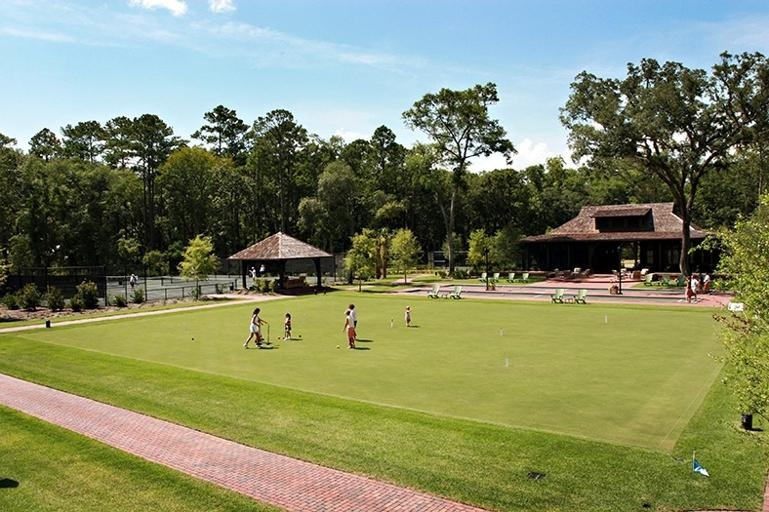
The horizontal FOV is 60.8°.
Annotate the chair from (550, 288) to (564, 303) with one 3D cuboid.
[{"bbox_3d":[14.038,3.237,53.942,1.127,1.514,1.231,-1,1,31],"label":"chair"}]

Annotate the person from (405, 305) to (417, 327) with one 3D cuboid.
[{"bbox_3d":[1.763,4.198,45.621,0.550,1.595,1.205,4,-4,-33],"label":"person"}]

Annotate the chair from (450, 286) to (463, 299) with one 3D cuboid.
[{"bbox_3d":[6.460,3.261,58.887,0.811,1.095,1.248,1,12,43],"label":"chair"}]
